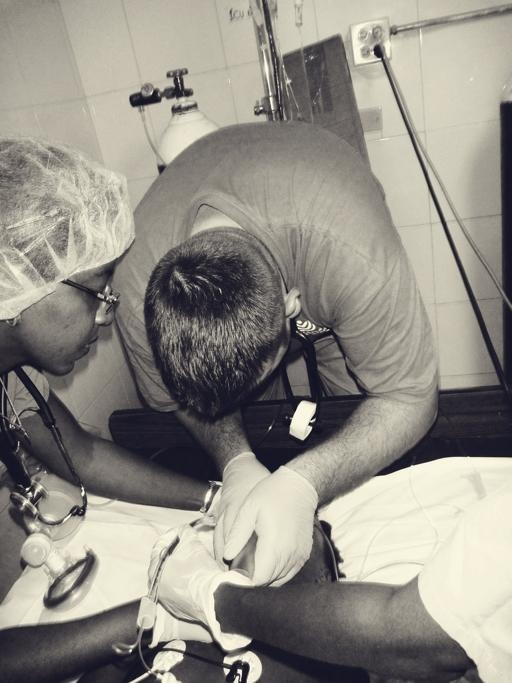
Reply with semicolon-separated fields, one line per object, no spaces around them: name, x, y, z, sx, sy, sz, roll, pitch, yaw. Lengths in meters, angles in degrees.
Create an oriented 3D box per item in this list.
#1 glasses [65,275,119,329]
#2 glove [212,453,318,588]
glasses;-0.329;-0.078;1.227;0.076;0.028;0.080;30;4;-1
glove;0.025;0.373;1.242;0.076;0.229;0.192;16;4;-38
